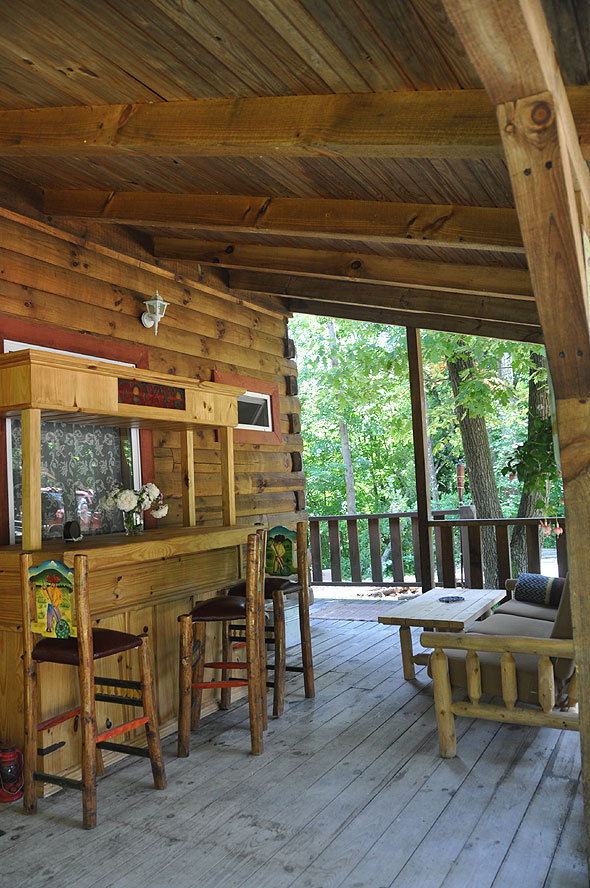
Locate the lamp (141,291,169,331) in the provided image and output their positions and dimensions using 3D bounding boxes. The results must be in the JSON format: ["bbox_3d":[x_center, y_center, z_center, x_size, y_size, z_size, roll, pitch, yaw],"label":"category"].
[{"bbox_3d":[-1.010,-0.924,4.841,0.170,0.228,0.295,-2,-4,-19],"label":"lamp"}]

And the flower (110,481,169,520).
[{"bbox_3d":[-0.908,0.345,4.044,0.288,0.197,0.277,-1,4,-22],"label":"flower"}]

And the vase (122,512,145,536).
[{"bbox_3d":[-0.975,0.474,4.037,0.136,0.199,0.128,3,-12,-30],"label":"vase"}]

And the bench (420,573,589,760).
[{"bbox_3d":[1.078,1.188,3.552,0.615,0.500,1.245,-3,-5,21],"label":"bench"}]

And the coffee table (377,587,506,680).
[{"bbox_3d":[0.932,1.208,4.319,0.365,0.282,0.861,-2,0,21],"label":"coffee table"}]

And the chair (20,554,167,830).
[{"bbox_3d":[-0.909,1.061,3.090,0.476,1.063,0.555,-8,-11,20],"label":"chair"}]
